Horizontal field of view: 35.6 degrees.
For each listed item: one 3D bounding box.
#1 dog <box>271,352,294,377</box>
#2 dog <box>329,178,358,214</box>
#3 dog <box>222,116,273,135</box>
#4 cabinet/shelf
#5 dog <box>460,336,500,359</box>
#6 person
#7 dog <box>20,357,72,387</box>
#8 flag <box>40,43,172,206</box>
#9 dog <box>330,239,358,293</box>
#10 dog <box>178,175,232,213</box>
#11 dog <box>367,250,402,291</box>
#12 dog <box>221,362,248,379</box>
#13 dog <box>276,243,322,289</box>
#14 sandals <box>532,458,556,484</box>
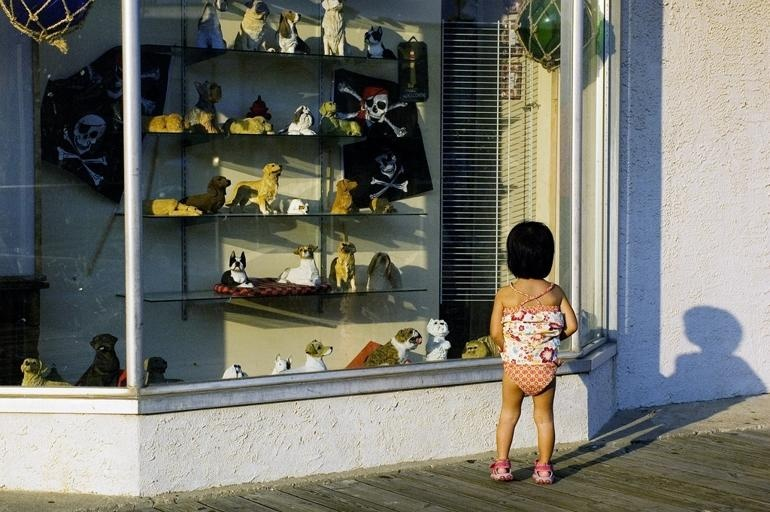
[{"bbox_3d":[-0.631,0.675,7.364,0.091,0.124,0.129,17,-42,-14],"label":"dog"},{"bbox_3d":[-0.270,-0.378,7.766,0.142,0.264,0.099,14,3,2],"label":"dog"},{"bbox_3d":[-0.859,-0.823,7.579,0.358,0.128,0.103,-2,8,-17],"label":"dog"},{"bbox_3d":[-0.790,-0.568,7.531,2.376,1.972,0.644,0,0,-17],"label":"cabinet/shelf"},{"bbox_3d":[0.607,0.601,7.750,0.144,0.094,0.187,-8,1,8],"label":"dog"},{"bbox_3d":[0.893,0.587,7.277,0.526,1.591,0.270,0,-6,6],"label":"person"},{"bbox_3d":[-2.018,0.697,7.156,0.230,0.083,0.165,19,-15,-28],"label":"dog"},{"bbox_3d":[-1.662,-0.788,7.189,0.967,1.128,0.316,6,6,6],"label":"flag"},{"bbox_3d":[-0.267,0.082,7.822,0.165,0.314,0.444,-1,-6,-10],"label":"dog"},{"bbox_3d":[-1.115,-0.379,7.499,0.351,0.230,0.166,-3,5,15],"label":"dog"},{"bbox_3d":[-0.013,0.111,7.854,0.193,0.251,0.280,9,-6,22],"label":"dog"},{"bbox_3d":[-0.908,0.703,7.264,0.142,0.090,0.059,1,-5,-3],"label":"dog"},{"bbox_3d":[-0.520,0.070,7.646,0.206,0.217,0.312,5,-8,-42],"label":"dog"},{"bbox_3d":[0.955,1.318,7.248,0.133,0.136,0.279,0,-9,6],"label":"sandals"}]
